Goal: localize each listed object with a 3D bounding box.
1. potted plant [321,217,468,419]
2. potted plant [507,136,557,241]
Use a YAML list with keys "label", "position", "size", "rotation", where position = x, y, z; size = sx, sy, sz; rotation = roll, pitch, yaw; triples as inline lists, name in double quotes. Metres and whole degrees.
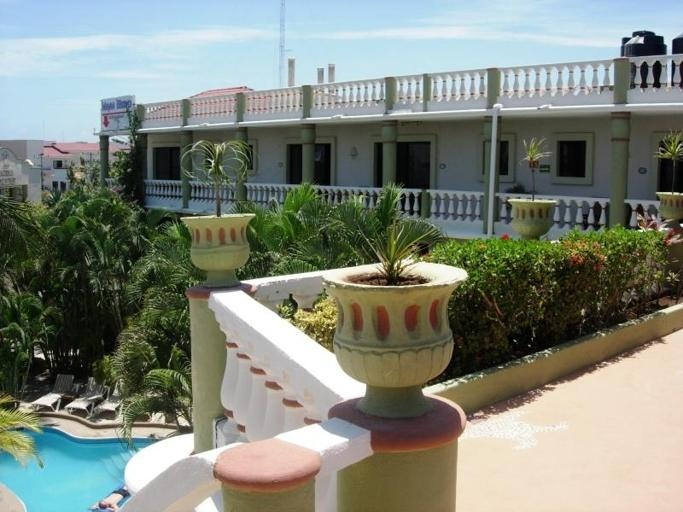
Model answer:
- label: "potted plant"
  position: [0.287, 0.352, 3.754]
  size: [0.754, 1.115, 0.790]
  rotation: [3, 6, 35]
- label: "potted plant"
  position: [3.103, -1.041, 10.321]
  size: [0.725, 1.718, 0.706]
  rotation: [-3, 4, -45]
